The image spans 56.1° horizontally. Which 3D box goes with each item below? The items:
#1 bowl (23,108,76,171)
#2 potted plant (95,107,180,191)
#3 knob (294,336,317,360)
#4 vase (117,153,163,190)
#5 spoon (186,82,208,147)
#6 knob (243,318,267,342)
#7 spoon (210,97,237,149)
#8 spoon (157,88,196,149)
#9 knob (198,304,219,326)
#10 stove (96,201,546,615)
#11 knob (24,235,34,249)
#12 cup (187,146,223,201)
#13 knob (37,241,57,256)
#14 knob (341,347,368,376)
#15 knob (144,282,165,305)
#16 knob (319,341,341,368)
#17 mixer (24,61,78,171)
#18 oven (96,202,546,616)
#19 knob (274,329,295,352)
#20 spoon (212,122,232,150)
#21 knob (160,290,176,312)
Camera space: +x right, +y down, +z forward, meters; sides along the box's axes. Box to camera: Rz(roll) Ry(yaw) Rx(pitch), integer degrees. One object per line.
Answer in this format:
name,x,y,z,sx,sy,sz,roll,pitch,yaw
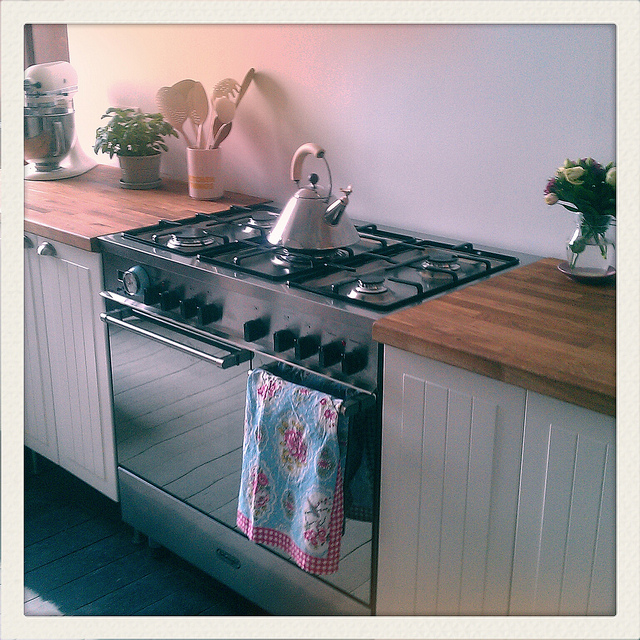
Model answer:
bowl,-1.201,-0.774,2.663,0.255,0.232,0.208,14,16,40
potted plant,-0.731,-0.697,2.478,0.322,0.332,0.302,-10,7,-23
knob,-0.033,0.064,1.333,0.042,0.049,0.037,13,20,36
vase,-0.718,-0.599,2.410,0.146,0.113,0.147,-11,24,-29
spoon,-0.473,-0.788,2.389,0.106,0.067,0.461,-6,-5,-9
knob,-0.153,0.025,1.441,0.043,0.044,0.024,-18,26,-36
spoon,-0.360,-0.723,2.203,0.107,0.178,0.063,2,16,5
spoon,-0.529,-0.763,2.245,0.073,0.232,0.034,-25,40,6
knob,-0.287,-0.013,1.551,0.041,0.039,0.022,-19,38,-29
stove,-0.083,0.238,1.796,0.976,0.970,0.672,15,22,34
knob,-0.966,-0.258,1.991,0.036,0.038,0.017,13,21,37
cup,-0.436,-0.571,2.286,0.132,0.203,0.125,4,32,-2
knob,-0.882,-0.224,1.920,0.083,0.051,0.048,16,22,41
knob,0.075,0.089,1.258,0.039,0.057,0.038,14,26,32
knob,-0.467,-0.075,1.695,0.047,0.046,0.026,-27,47,-33
knob,0.023,0.075,1.288,0.034,0.052,0.030,29,38,35
mixer,-1.165,-0.894,2.619,0.251,0.447,0.169,25,35,36
oven,-0.063,0.261,1.811,1.042,0.997,0.685,14,19,37
knob,-0.081,0.048,1.377,0.040,0.040,0.022,-14,26,-31
spoon,-0.366,-0.691,2.241,0.036,0.133,0.021,15,12,-36
knob,-0.417,-0.053,1.648,0.035,0.063,0.033,21,30,38
